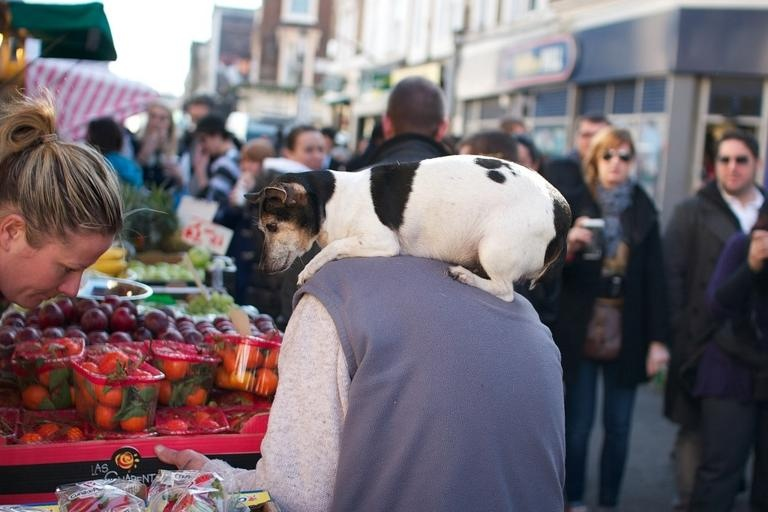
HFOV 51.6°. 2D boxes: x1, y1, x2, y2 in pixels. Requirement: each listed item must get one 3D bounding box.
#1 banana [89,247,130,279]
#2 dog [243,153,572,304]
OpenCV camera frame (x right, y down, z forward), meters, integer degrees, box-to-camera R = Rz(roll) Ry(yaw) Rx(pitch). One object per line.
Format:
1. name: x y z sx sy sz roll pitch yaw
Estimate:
1. banana: -1.986 0.056 5.694 0.202 0.155 0.210 7 7 41
2. dog: 0.147 -0.120 4.008 1.530 0.775 0.674 5 -6 -3
